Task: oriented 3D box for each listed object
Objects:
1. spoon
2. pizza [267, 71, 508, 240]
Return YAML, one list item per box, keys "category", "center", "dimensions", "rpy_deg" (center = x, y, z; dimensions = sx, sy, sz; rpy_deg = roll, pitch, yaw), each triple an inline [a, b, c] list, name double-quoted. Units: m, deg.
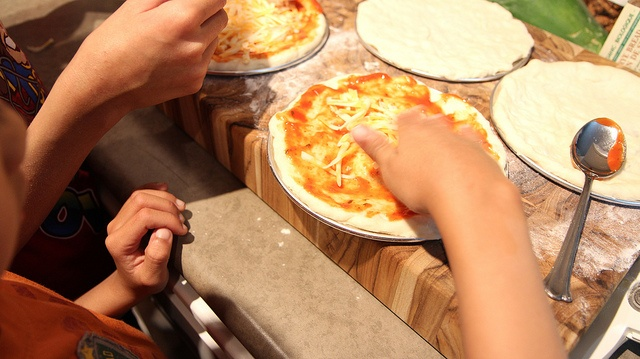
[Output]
- category: "spoon"
  center: [0.736, -0.008, 1.241]
  dimensions: [0.157, 0.077, 0.680]
  rpy_deg: [15, 67, 26]
- category: "pizza"
  center: [0.120, -0.048, 1.230]
  dimensions: [0.535, 0.060, 0.485]
  rpy_deg: [30, 55, 22]
